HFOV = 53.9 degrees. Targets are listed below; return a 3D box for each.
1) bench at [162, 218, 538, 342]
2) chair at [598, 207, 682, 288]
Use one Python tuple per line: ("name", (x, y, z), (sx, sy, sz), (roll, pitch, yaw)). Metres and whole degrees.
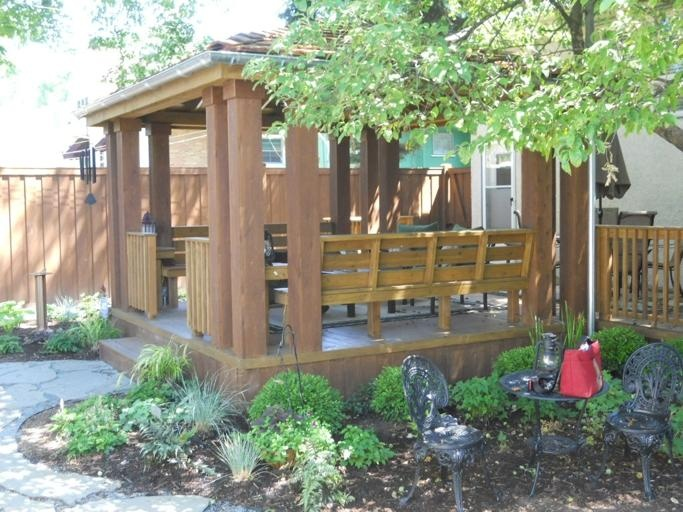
("bench", (0.149, 0.324, 8.541), (4.122, 1.021, 2.858), (0, -1, -16))
("chair", (3.942, -0.099, 8.972), (0.841, 0.783, 2.764), (-1, -1, 26))
